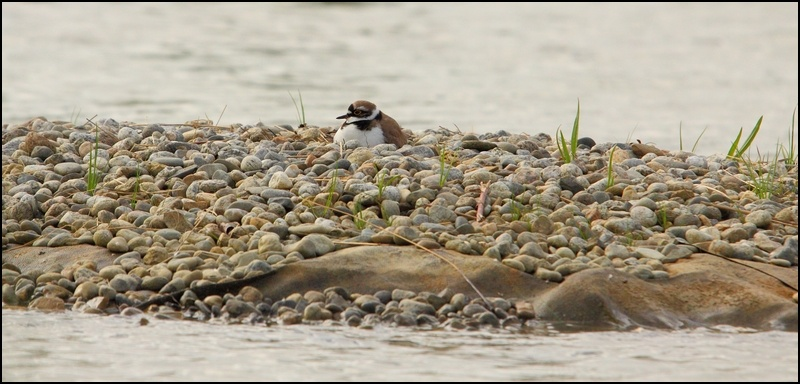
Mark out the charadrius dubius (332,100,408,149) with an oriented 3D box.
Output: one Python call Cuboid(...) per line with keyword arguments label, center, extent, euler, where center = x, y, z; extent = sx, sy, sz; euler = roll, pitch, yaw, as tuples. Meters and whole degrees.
Cuboid(label="charadrius dubius", center=(-0.386, -0.931, 14.081), extent=(0.990, 0.610, 0.589), euler=(2, 5, -5))
